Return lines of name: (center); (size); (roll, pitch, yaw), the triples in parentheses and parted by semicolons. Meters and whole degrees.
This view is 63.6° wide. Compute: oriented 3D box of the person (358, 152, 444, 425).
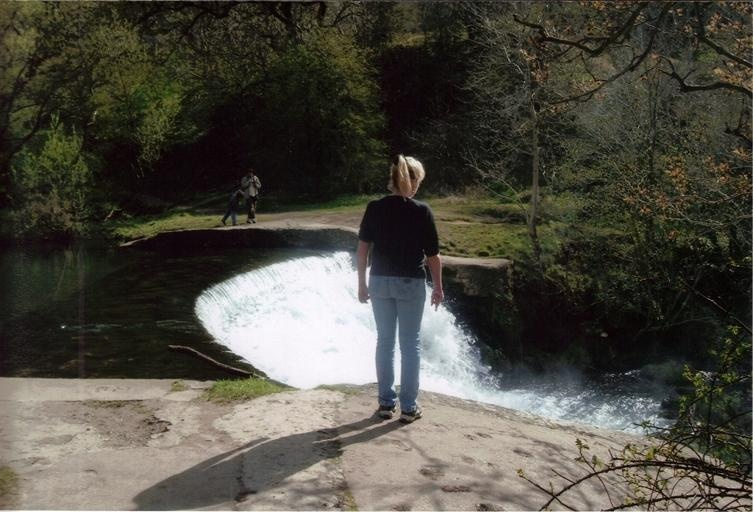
person: (0.285, 0.432, 7.973); (1.133, 3.488, 0.399); (4, 5, 6)

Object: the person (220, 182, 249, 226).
person: (-4.000, -1.463, 17.090); (0.619, 1.169, 1.794); (2, 5, -14)

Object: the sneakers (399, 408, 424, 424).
sneakers: (0.467, 2.119, 8.133); (0.350, 0.163, 0.126); (-6, 6, -42)
